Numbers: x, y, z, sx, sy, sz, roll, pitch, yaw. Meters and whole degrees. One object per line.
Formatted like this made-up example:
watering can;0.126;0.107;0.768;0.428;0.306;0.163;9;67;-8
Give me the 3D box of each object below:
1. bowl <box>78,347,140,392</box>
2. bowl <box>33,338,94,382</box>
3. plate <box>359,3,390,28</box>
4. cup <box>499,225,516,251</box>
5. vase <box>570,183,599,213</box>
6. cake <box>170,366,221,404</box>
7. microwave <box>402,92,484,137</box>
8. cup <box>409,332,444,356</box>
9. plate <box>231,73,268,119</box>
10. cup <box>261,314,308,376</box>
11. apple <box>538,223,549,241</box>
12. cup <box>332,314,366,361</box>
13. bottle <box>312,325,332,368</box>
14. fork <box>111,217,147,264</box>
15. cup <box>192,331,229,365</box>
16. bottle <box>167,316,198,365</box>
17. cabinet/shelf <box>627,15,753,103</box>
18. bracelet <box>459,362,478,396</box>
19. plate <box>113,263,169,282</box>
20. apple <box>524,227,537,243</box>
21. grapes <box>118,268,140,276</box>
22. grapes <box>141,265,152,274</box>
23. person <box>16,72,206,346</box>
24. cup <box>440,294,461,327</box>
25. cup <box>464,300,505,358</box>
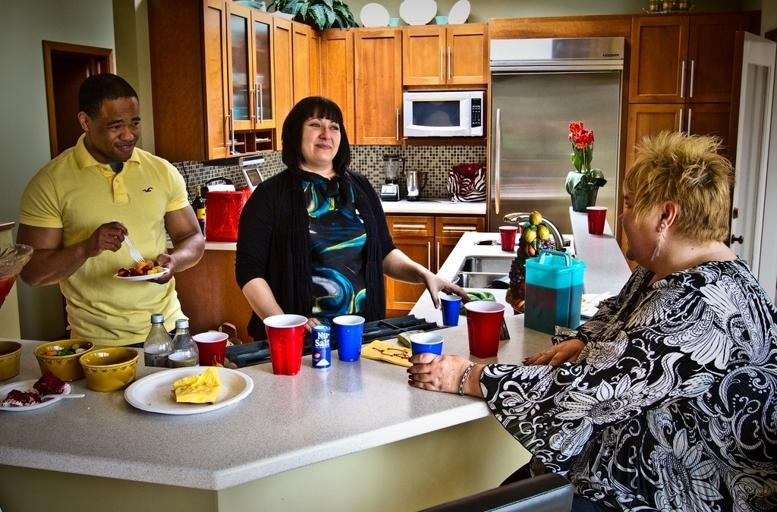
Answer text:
bowl;-0.857;0.334;1.749;0.138;0.071;0.141;2;6;0
bowl;-1.024;0.330;1.809;0.148;0.069;0.146;9;12;-2
plate;-0.144;-2.451;5.879;0.318;0.306;0.073;7;10;12
cup;0.799;-0.119;3.861;0.148;0.157;0.145;-1;0;0
vase;1.543;-0.462;4.558;0.210;0.209;0.210;0;0;0
cake;-0.570;0.380;1.695;0.136;0.074;0.145;-3;11;-12
microwave;0.539;-1.376;5.611;0.678;0.359;0.485;0;5;10
cup;0.123;0.286;1.871;0.076;0.061;0.081;-2;7;0
plate;-1.169;-1.310;4.778;0.097;0.359;0.402;5;8;44
cup;-0.333;0.286;1.873;0.124;0.186;0.150;-3;11;-10
apple;0.752;-0.114;2.746;0.052;0.065;0.054;9;57;52
cup;-0.133;0.276;2.000;0.140;0.143;0.142;-1;4;0
bottle;-0.225;0.297;1.905;0.060;0.141;0.071;-2;11;-5
fork;-1.102;-0.034;2.492;0.051;0.308;0.044;-33;-4;-9
cup;-0.614;0.318;1.990;0.105;0.085;0.120;-1;-1;5
bottle;-0.677;0.282;1.874;0.095;0.170;0.181;-4;11;-14
cabinet/shelf;2.652;-1.742;4.976;0.962;0.799;0.359;2;7;3
bracelet;0.248;0.378;1.743;0.025;0.080;0.065;22;-21;-35
plate;-1.067;0.069;2.437;0.228;0.075;0.133;1;11;8
apple;0.671;-0.097;2.709;0.052;0.053;0.065;0;37;46
grapes;-1.118;0.065;2.439;0.039;0.021;0.053;0;1;30
grapes;-1.029;0.058;2.429;0.037;0.026;0.036;2;4;16
person;-1.199;-0.189;2.483;0.744;1.160;0.415;-5;12;-22
cup;0.248;0.229;2.346;0.108;0.113;0.108;-1;2;0
cup;0.329;0.253;2.058;0.179;0.182;0.177;-2;8;0
